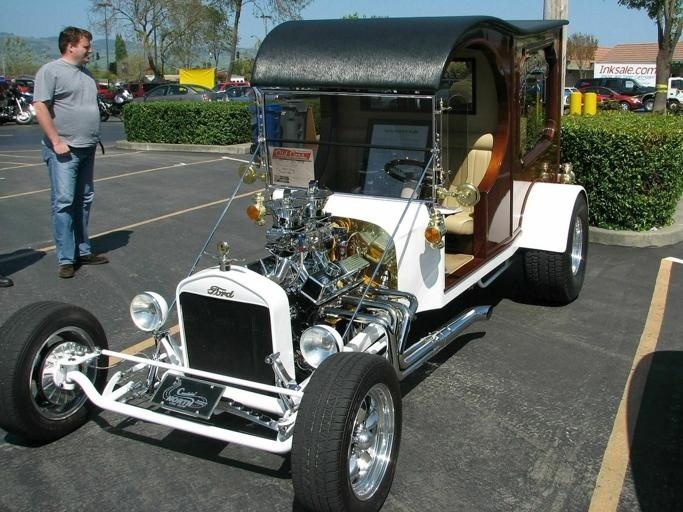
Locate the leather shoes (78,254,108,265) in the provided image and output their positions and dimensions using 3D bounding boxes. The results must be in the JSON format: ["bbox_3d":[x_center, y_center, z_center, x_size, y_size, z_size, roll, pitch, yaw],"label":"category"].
[{"bbox_3d":[-3.273,0.048,7.007,0.348,0.132,0.143,-1,4,5],"label":"leather shoes"}]

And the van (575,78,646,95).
[{"bbox_3d":[18.291,-10.943,35.768,3.970,1.661,2.010,4,18,26],"label":"van"}]

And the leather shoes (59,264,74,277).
[{"bbox_3d":[-3.378,0.187,6.485,0.119,0.135,0.192,-4,-2,-5],"label":"leather shoes"}]

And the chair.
[{"bbox_3d":[0.699,-0.758,5.149,1.025,1.282,0.832,-4,11,-42],"label":"chair"}]
